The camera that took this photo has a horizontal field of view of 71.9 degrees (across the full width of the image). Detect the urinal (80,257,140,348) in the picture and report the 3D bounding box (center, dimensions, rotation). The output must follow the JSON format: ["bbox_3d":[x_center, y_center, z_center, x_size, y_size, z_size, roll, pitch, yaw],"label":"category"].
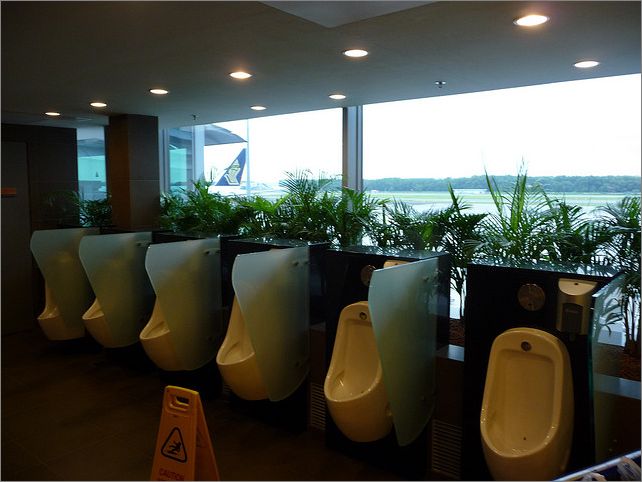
[{"bbox_3d":[-2.014,0.541,4.239,0.409,0.902,0.430,-1,10,-38],"label":"urinal"}]

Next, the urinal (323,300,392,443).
[{"bbox_3d":[0.214,0.927,2.895,0.417,1.007,0.452,-2,13,-12],"label":"urinal"}]
